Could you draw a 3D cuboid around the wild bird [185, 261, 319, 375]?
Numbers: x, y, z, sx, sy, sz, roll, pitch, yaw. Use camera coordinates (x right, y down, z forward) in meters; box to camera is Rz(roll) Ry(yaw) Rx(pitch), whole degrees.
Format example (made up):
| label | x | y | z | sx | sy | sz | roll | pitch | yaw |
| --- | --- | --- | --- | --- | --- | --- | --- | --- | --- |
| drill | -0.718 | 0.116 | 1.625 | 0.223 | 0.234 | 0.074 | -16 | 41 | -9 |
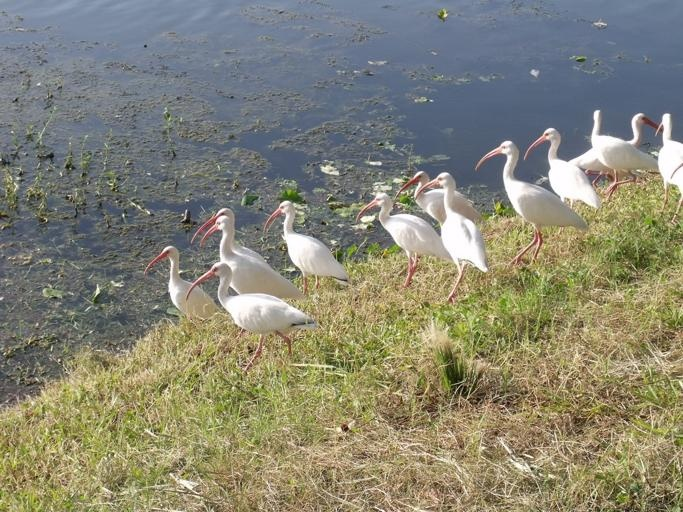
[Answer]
| label | x | y | z | sx | sy | sz | roll | pitch | yaw |
| --- | --- | --- | --- | --- | --- | --- | --- | --- | --- |
| wild bird | -0.926 | 0.644 | 8.661 | 0.766 | 0.852 | 1.365 | -26 | 31 | -17 |
